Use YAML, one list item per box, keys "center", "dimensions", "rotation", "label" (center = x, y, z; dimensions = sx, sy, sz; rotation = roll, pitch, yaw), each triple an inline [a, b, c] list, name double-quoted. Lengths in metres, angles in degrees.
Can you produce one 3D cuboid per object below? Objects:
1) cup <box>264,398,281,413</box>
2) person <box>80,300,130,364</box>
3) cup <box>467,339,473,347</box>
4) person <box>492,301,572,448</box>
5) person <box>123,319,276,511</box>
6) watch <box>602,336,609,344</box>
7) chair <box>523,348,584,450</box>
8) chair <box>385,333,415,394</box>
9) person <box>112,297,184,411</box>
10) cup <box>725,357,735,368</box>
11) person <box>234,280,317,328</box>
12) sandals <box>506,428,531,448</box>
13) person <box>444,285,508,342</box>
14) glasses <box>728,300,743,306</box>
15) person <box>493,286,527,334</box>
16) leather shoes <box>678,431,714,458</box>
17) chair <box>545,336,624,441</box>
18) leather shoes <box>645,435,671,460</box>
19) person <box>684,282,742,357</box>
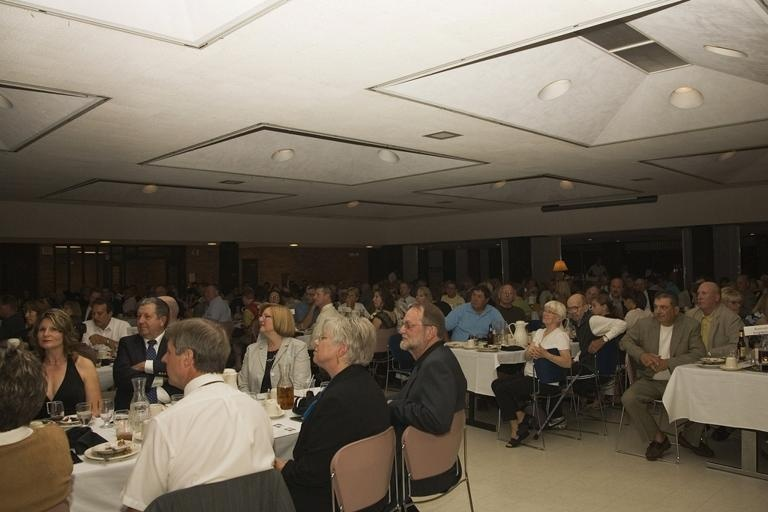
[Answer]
- center: [-0.894, 1.211, 4.352]
  dimensions: [0.128, 0.111, 0.084]
  rotation: [4, -8, -10]
  label: "cup"
- center: [-3.720, 1.197, 7.186]
  dimensions: [0.596, 1.165, 0.576]
  rotation: [4, 5, -14]
  label: "person"
- center: [1.128, 1.155, 7.127]
  dimensions: [0.077, 0.082, 0.077]
  rotation: [-1, -7, 0]
  label: "cup"
- center: [1.740, 1.389, 6.474]
  dimensions: [0.890, 1.703, 0.665]
  rotation: [2, 9, 3]
  label: "person"
- center: [-1.109, 0.938, 3.236]
  dimensions: [0.852, 1.037, 0.553]
  rotation: [-2, 9, -25]
  label: "person"
- center: [2.696, 1.026, 6.623]
  dimensions: [0.073, 0.016, 0.071]
  rotation: [-13, 40, -39]
  label: "watch"
- center: [1.872, 1.645, 6.504]
  dimensions: [0.659, 1.075, 0.781]
  rotation: [1, -9, -18]
  label: "chair"
- center: [0.242, 1.522, 7.673]
  dimensions: [0.537, 0.646, 0.531]
  rotation: [-5, -21, -20]
  label: "chair"
- center: [-2.156, 1.239, 5.089]
  dimensions: [0.552, 1.500, 0.517]
  rotation: [-5, -14, -21]
  label: "person"
- center: [3.501, 1.082, 5.485]
  dimensions: [0.096, 0.108, 0.097]
  rotation: [3, -4, 0]
  label: "cup"
- center: [-1.960, 0.996, 10.157]
  dimensions: [1.422, 0.818, 1.061]
  rotation: [12, -20, -19]
  label: "person"
- center: [1.593, 2.145, 6.371]
  dimensions: [0.338, 0.097, 0.127]
  rotation: [-40, 9, -19]
  label: "sandals"
- center: [1.321, 0.921, 7.907]
  dimensions: [0.998, 0.833, 0.538]
  rotation: [5, 0, -4]
  label: "person"
- center: [4.390, 0.587, 6.807]
  dimensions: [0.189, 0.050, 0.184]
  rotation: [6, -11, -43]
  label: "glasses"
- center: [1.941, 0.818, 8.537]
  dimensions: [0.755, 0.707, 0.392]
  rotation: [5, -7, 6]
  label: "person"
- center: [3.458, 2.121, 6.071]
  dimensions: [0.148, 0.168, 0.400]
  rotation: [-42, 37, -11]
  label: "leather shoes"
- center: [2.511, 1.563, 6.852]
  dimensions: [0.696, 0.993, 0.712]
  rotation: [3, -15, -45]
  label: "chair"
- center: [3.023, 2.101, 6.008]
  dimensions: [0.404, 0.156, 0.140]
  rotation: [-21, -3, -41]
  label: "leather shoes"
- center: [3.904, 0.772, 6.421]
  dimensions: [0.466, 0.828, 0.507]
  rotation: [18, -24, -19]
  label: "person"
